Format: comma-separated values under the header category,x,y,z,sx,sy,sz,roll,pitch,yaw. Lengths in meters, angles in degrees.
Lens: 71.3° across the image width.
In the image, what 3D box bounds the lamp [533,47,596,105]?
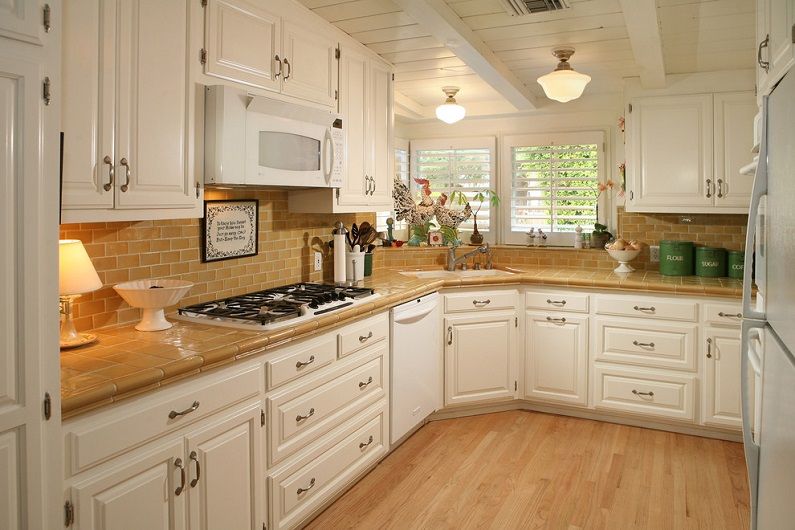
category,x,y,z,sx,sy,sz,roll,pitch,yaw
lamp,1.134,-1.255,3.806,0.352,0.308,0.337,-4,7,-32

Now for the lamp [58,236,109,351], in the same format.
category,x,y,z,sx,sy,sz,roll,pitch,yaw
lamp,-1.418,0.114,2.468,0.178,0.450,0.255,-7,14,-30

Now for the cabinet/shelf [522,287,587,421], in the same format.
category,x,y,z,sx,sy,sz,roll,pitch,yaw
cabinet/shelf,1.189,0.606,4.166,0.492,0.826,0.186,3,12,12

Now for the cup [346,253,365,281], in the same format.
category,x,y,z,sx,sy,sz,roll,pitch,yaw
cup,-0.293,0.012,3.928,0.118,0.203,0.089,-2,12,-9

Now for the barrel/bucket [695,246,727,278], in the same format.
category,x,y,z,sx,sy,sz,roll,pitch,yaw
barrel/bucket,2.342,-0.021,4.143,0.229,0.231,0.218,1,3,0

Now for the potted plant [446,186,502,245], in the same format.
category,x,y,z,sx,sy,sz,roll,pitch,yaw
potted plant,0.730,-0.458,5.333,0.563,0.641,0.509,0,-2,-9

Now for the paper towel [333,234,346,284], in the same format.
category,x,y,z,sx,sy,sz,roll,pitch,yaw
paper towel,-0.394,-0.048,3.815,0.078,0.330,0.127,-2,12,-8

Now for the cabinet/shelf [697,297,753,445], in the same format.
category,x,y,z,sx,sy,sz,roll,pitch,yaw
cabinet/shelf,2.191,0.687,3.773,0.328,0.885,0.128,6,14,25

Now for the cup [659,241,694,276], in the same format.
category,x,y,z,sx,sy,sz,roll,pitch,yaw
cup,2.132,-0.061,4.279,0.273,0.287,0.271,1,5,0

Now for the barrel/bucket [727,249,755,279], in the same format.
category,x,y,z,sx,sy,sz,roll,pitch,yaw
barrel/bucket,2.459,-0.004,4.009,0.128,0.220,0.311,2,12,8

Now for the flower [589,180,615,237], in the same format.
category,x,y,z,sx,sy,sz,roll,pitch,yaw
flower,1.771,-0.490,4.786,0.161,0.462,0.246,4,13,18

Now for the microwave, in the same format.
category,x,y,z,sx,sy,sz,roll,pitch,yaw
microwave,-0.676,-0.686,2.964,0.279,0.385,0.786,0,0,31

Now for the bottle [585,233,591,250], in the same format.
category,x,y,z,sx,sy,sz,roll,pitch,yaw
bottle,1.653,-0.212,4.835,0.054,0.117,0.104,7,13,28

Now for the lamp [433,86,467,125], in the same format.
category,x,y,z,sx,sy,sz,roll,pitch,yaw
lamp,0.437,-1.295,4.541,0.235,0.255,0.229,8,11,37

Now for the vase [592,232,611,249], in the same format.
category,x,y,z,sx,sy,sz,roll,pitch,yaw
vase,1.740,-0.223,4.747,0.158,0.160,0.155,4,8,19

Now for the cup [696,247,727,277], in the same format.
category,x,y,z,sx,sy,sz,roll,pitch,yaw
cup,2.338,-0.024,4.141,0.216,0.221,0.208,1,3,0

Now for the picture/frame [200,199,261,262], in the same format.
category,x,y,z,sx,sy,sz,roll,pitch,yaw
picture/frame,-0.969,-0.199,3.178,0.027,0.305,0.391,2,4,30

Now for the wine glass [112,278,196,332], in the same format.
category,x,y,z,sx,sy,sz,roll,pitch,yaw
wine glass,-1.183,0.186,2.707,0.325,0.222,0.296,-5,13,-25

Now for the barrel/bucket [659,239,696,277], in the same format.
category,x,y,z,sx,sy,sz,roll,pitch,yaw
barrel/bucket,2.141,-0.050,4.256,0.274,0.288,0.270,0,5,0
